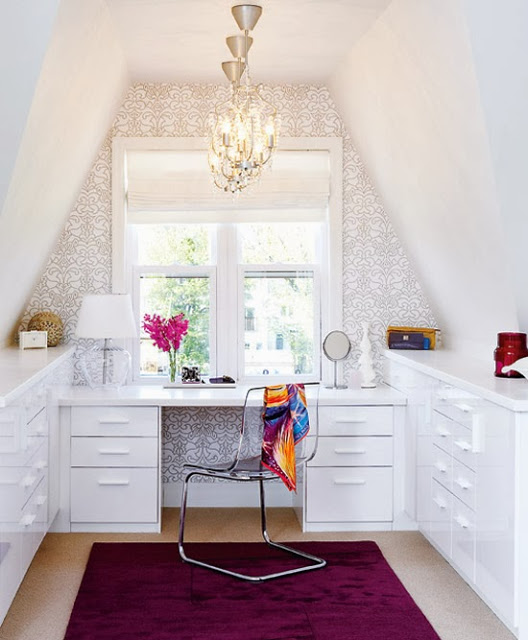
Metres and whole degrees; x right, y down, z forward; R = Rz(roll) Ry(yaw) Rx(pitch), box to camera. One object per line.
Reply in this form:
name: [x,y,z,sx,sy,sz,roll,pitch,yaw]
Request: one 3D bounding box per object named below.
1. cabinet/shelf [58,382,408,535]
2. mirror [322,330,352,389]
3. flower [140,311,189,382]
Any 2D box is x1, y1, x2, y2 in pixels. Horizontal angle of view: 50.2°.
cabinet/shelf: [-0.157,0.703,2.841,1.644,0.655,0.545,1,-10,-4]
mirror: [0.394,0.200,3.017,0.133,0.296,0.320,0,-1,9]
flower: [-0.550,0.144,3.148,0.266,0.370,0.203,0,-1,-12]
